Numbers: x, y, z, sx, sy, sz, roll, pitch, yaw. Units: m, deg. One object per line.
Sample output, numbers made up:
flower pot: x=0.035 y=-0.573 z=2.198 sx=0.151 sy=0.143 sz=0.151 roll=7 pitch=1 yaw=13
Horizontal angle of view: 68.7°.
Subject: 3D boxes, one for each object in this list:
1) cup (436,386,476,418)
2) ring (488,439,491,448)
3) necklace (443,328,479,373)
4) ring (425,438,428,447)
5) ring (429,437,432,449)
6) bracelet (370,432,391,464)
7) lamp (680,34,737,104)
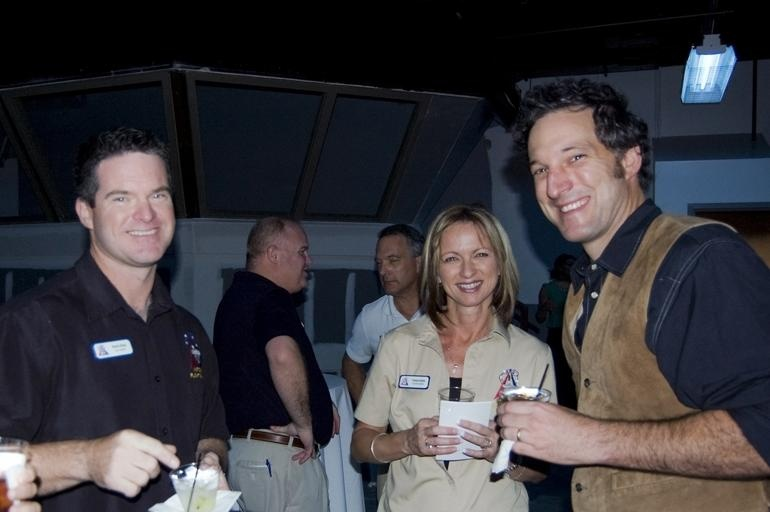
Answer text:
cup: x=0.354 y=0.733 z=2.855 sx=0.118 sy=0.133 sz=0.129 roll=0 pitch=-2 yaw=0
ring: x=0.518 y=0.929 z=2.811 sx=0.012 sy=0.032 sz=0.029 roll=6 pitch=-28 yaw=20
necklace: x=0.403 y=0.545 z=3.183 sx=0.193 sy=0.188 sz=0.051 roll=3 pitch=-20 yaw=14
ring: x=0.214 y=0.934 z=2.835 sx=0.009 sy=0.036 sz=0.026 roll=-3 pitch=0 yaw=-29
ring: x=0.226 y=0.932 z=2.816 sx=0.024 sy=0.032 sz=0.009 roll=-3 pitch=-1 yaw=41
bracelet: x=-0.019 y=1.052 z=3.111 sx=0.087 sy=0.166 sz=0.141 roll=-3 pitch=0 yaw=15
lamp: x=3.653 y=-2.074 z=6.328 sx=0.534 sy=0.705 sz=0.528 roll=-1 pitch=22 yaw=2
